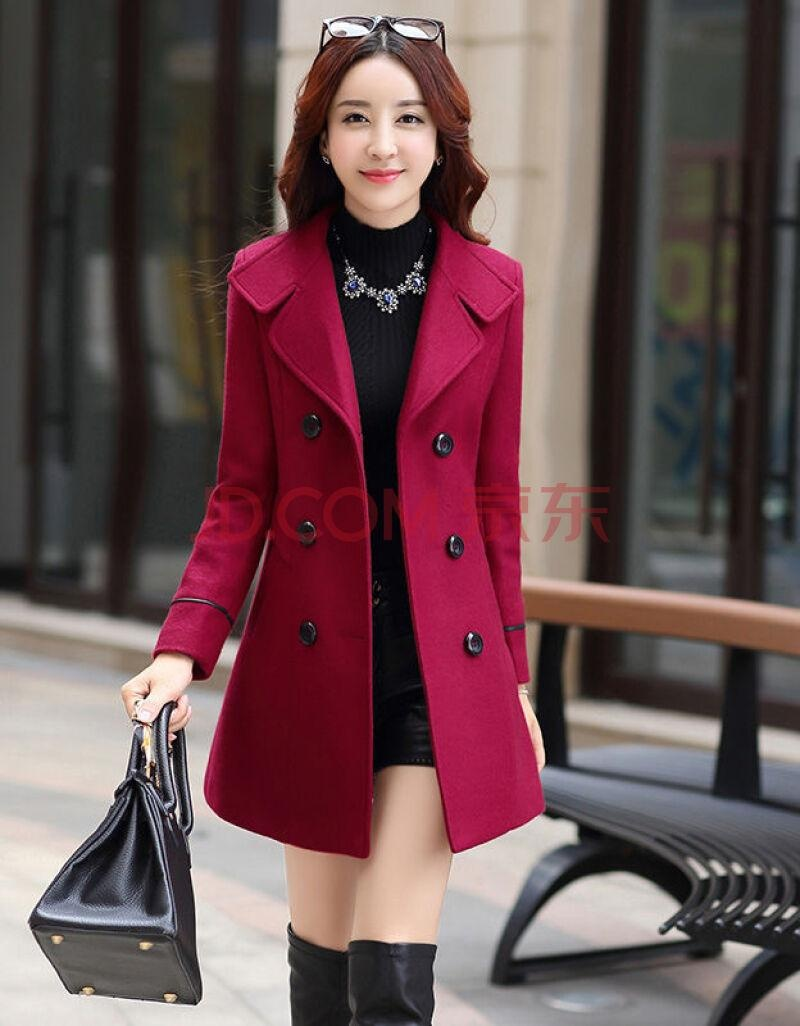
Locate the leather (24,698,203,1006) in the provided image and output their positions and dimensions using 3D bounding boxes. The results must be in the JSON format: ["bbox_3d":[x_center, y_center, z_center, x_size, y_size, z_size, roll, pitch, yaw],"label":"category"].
[{"bbox_3d":[-0.286,0.376,1.199,0.163,0.316,0.256,2,3,-6],"label":"leather"}]

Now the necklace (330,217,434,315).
[{"bbox_3d":[-0.024,-0.313,1.454,0.172,0.187,0.016,1,-29,-5],"label":"necklace"}]

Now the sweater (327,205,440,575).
[{"bbox_3d":[-0.021,-0.167,1.399,0.131,0.433,0.071,1,-24,-3],"label":"sweater"}]

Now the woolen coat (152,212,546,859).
[{"bbox_3d":[-0.040,0.013,1.438,0.480,0.796,0.261,2,3,2],"label":"woolen coat"}]
